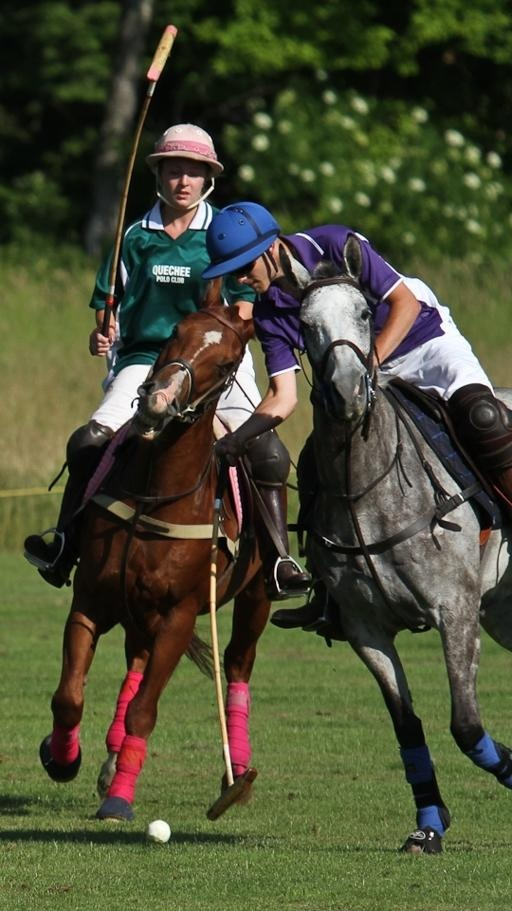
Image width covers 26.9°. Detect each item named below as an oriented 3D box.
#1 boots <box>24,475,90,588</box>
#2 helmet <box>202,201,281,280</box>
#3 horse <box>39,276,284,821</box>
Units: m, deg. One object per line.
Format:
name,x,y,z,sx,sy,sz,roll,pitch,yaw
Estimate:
boots,-0.832,0.371,4.473,0.115,0.182,0.363,30,12,10
helmet,-0.064,-0.772,3.850,0.308,0.164,0.242,-37,14,-34
horse,-0.358,0.592,4.475,0.705,1.728,2.621,10,-13,10
